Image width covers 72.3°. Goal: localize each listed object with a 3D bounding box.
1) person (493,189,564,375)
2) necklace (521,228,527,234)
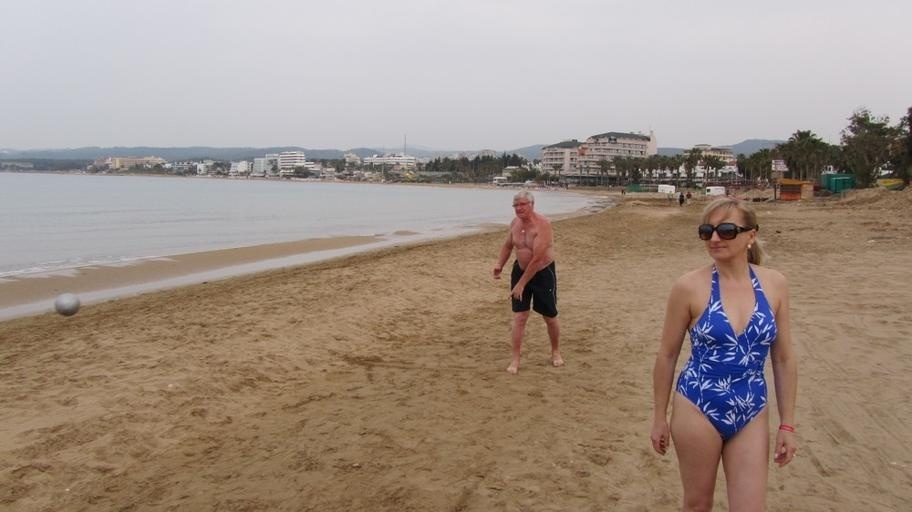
[{"bbox_3d":[1.287,0.427,10.615,1.105,3.053,1.396,0,10,8],"label":"person"},{"bbox_3d":[1.104,-0.399,10.089,0.102,0.080,0.024,4,0,30],"label":"necklace"}]
